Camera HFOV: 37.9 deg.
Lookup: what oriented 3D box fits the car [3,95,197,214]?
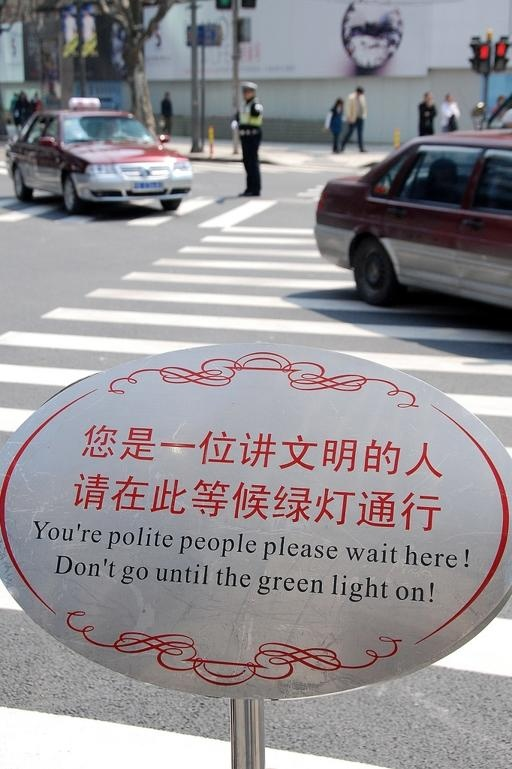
[{"bbox_3d":[-3.715,-5.127,16.587,2.266,2.096,4.513,-8,17,-33],"label":"car"}]
